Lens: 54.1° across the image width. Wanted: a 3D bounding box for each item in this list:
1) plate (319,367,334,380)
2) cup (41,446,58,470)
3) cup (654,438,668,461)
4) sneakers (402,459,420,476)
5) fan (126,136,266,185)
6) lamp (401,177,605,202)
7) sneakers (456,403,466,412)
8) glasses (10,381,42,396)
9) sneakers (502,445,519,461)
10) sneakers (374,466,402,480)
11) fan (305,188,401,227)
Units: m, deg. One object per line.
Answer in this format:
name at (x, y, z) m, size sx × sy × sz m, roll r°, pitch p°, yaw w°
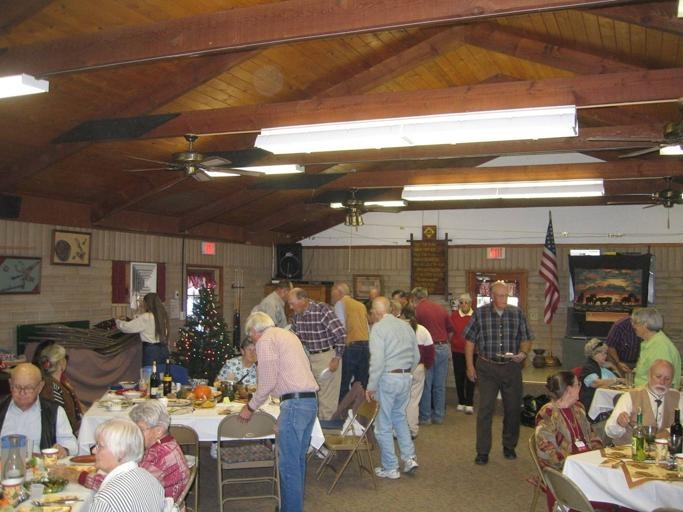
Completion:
plate at (-0.187, 1.488, 8.355) m, size 0.169 × 0.095 × 0.166 m, roll -8°, pitch -13°, yaw -27°
cup at (-2.269, 1.596, 5.275) m, size 0.138 × 0.146 × 0.134 m, roll 0°, pitch -10°, yaw 0°
cup at (2.742, 1.661, 5.670) m, size 0.105 × 0.177 × 0.201 m, roll 1°, pitch 2°, yaw 25°
sneakers at (0.853, 2.535, 7.991) m, size 0.104 × 0.125 × 0.278 m, roll 1°, pitch -7°, yaw -6°
fan at (-1.728, -1.300, 8.732) m, size 1.043 × 0.623 × 1.815 m, roll 0°, pitch 2°, yaw -9°
lamp at (2.538, -1.060, 10.544) m, size 2.992 × 0.232 × 0.574 m, roll 1°, pitch 2°, yaw 24°
sneakers at (2.046, 2.566, 11.282) m, size 0.139 × 0.098 × 0.246 m, roll 1°, pitch 1°, yaw 8°
glasses at (-2.749, 1.160, 5.806) m, size 0.224 × 0.140 × 0.262 m, roll -1°, pitch 2°, yaw -26°
sneakers at (2.199, 2.568, 8.648) m, size 0.152 × 0.132 × 0.319 m, roll 0°, pitch -9°, yaw 1°
sneakers at (0.555, 2.569, 7.918) m, size 0.317 × 0.139 × 0.119 m, roll 4°, pitch 2°, yaw 15°
fan at (0.601, -0.954, 12.989) m, size 1.839 × 0.713 × 1.898 m, roll -1°, pitch 2°, yaw -27°
